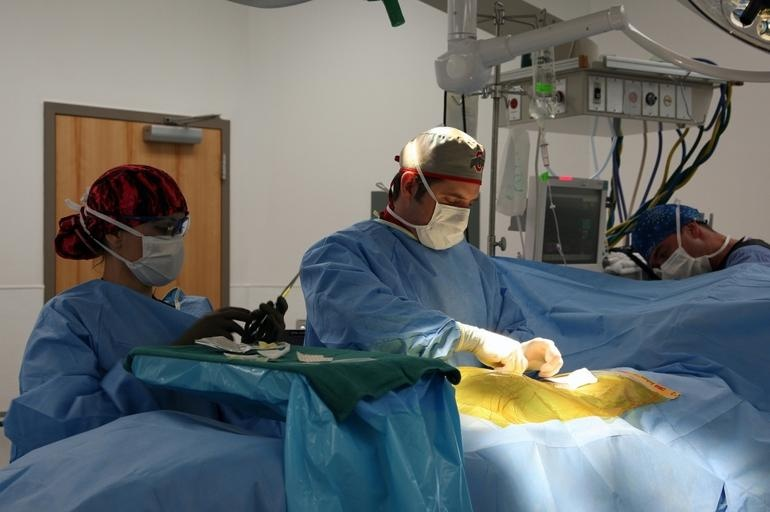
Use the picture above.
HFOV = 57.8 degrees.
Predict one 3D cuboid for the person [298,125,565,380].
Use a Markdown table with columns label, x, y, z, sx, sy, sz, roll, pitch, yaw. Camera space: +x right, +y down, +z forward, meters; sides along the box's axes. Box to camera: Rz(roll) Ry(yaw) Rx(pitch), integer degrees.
| label | x | y | z | sx | sy | sz | roll | pitch | yaw |
| --- | --- | --- | --- | --- | --- | --- | --- | --- | --- |
| person | 0.235 | 0.016 | 2.863 | 1.078 | 1.060 | 0.878 | 0 | 0 | -26 |

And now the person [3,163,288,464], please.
| label | x | y | z | sx | sy | sz | roll | pitch | yaw |
| --- | --- | --- | --- | --- | --- | --- | --- | --- | --- |
| person | -0.842 | 0.151 | 2.452 | 0.796 | 0.946 | 0.596 | -1 | 5 | -12 |

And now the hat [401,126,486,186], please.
| label | x | y | z | sx | sy | sz | roll | pitch | yaw |
| --- | --- | --- | --- | --- | --- | --- | --- | --- | --- |
| hat | 0.224 | -0.392 | 2.798 | 0.260 | 0.191 | 0.215 | 3 | 3 | 21 |

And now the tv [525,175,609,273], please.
| label | x | y | z | sx | sy | sz | roll | pitch | yaw |
| --- | --- | --- | --- | --- | --- | --- | --- | --- | --- |
| tv | 0.901 | -0.155 | 3.511 | 0.416 | 0.570 | 0.240 | 1 | 2 | -29 |

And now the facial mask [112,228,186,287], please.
| label | x | y | z | sx | sy | sz | roll | pitch | yaw |
| --- | --- | --- | --- | --- | --- | --- | --- | --- | --- |
| facial mask | -0.849 | 0.015 | 2.524 | 0.185 | 0.175 | 0.195 | 9 | 3 | 2 |

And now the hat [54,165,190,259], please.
| label | x | y | z | sx | sy | sz | roll | pitch | yaw |
| --- | --- | --- | --- | --- | --- | --- | --- | --- | --- |
| hat | -0.981 | -0.143 | 2.650 | 0.386 | 0.345 | 0.320 | -7 | 6 | -9 |

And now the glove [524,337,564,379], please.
| label | x | y | z | sx | sy | sz | roll | pitch | yaw |
| --- | --- | --- | --- | --- | --- | --- | --- | --- | --- |
| glove | 0.595 | 0.382 | 2.627 | 0.137 | 0.151 | 0.098 | 4 | 7 | 37 |

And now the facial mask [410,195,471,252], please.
| label | x | y | z | sx | sy | sz | roll | pitch | yaw |
| --- | --- | --- | --- | --- | --- | --- | --- | --- | --- |
| facial mask | 0.226 | -0.129 | 2.813 | 0.188 | 0.161 | 0.175 | 22 | 11 | 11 |

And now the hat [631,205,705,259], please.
| label | x | y | z | sx | sy | sz | roll | pitch | yaw |
| --- | --- | --- | --- | --- | --- | --- | --- | --- | --- |
| hat | 1.358 | -0.135 | 3.359 | 0.276 | 0.192 | 0.243 | 11 | -10 | 10 |

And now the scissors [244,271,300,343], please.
| label | x | y | z | sx | sy | sz | roll | pitch | yaw |
| --- | --- | --- | --- | --- | --- | --- | --- | --- | --- |
| scissors | -0.397 | 0.202 | 2.425 | 0.122 | 0.275 | 0.113 | 21 | -14 | -20 |
